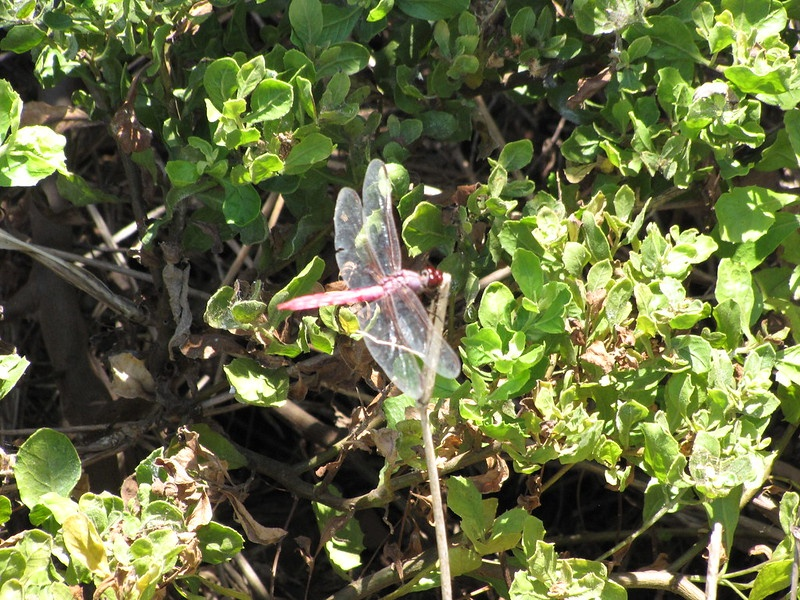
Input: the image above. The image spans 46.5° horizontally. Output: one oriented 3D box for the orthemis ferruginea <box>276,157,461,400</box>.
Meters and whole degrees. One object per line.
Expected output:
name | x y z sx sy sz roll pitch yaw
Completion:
orthemis ferruginea | -0.017 -0.072 2.384 0.339 0.430 0.584 -13 35 -44
